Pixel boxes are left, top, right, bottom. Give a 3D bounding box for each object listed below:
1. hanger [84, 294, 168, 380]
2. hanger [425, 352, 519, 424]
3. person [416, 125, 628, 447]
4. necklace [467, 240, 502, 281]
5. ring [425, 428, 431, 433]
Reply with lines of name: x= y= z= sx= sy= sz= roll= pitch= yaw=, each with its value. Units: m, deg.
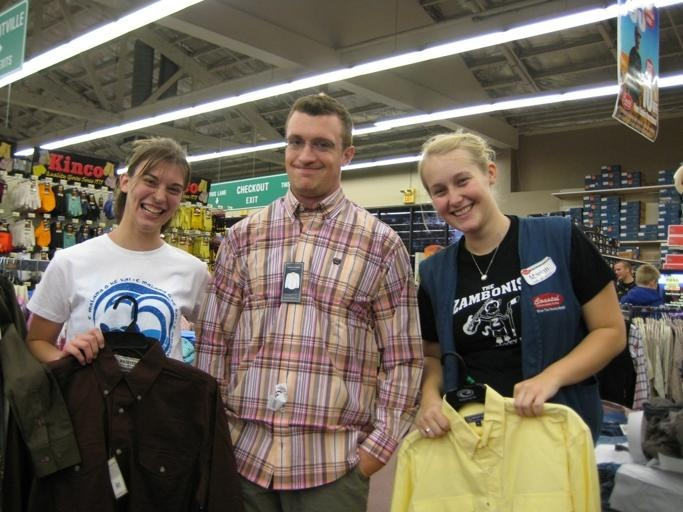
hanger: x=-0.881 y=0.288 z=2.211 sx=0.115 sy=0.232 sz=0.231 roll=5 pitch=-8 yaw=2
hanger: x=0.470 y=0.518 z=2.107 sx=0.323 sy=0.329 sz=0.043 roll=-19 pitch=-12 yaw=27
person: x=0.661 y=0.047 z=2.167 sx=0.813 sy=1.145 sz=0.355 roll=-2 pitch=-5 yaw=28
necklace: x=0.600 y=0.021 z=2.251 sx=0.165 sy=0.208 sz=0.016 roll=-3 pitch=-23 yaw=20
ring: x=0.330 y=0.670 z=2.067 sx=0.026 sy=0.025 sz=0.007 roll=8 pitch=0 yaw=25
